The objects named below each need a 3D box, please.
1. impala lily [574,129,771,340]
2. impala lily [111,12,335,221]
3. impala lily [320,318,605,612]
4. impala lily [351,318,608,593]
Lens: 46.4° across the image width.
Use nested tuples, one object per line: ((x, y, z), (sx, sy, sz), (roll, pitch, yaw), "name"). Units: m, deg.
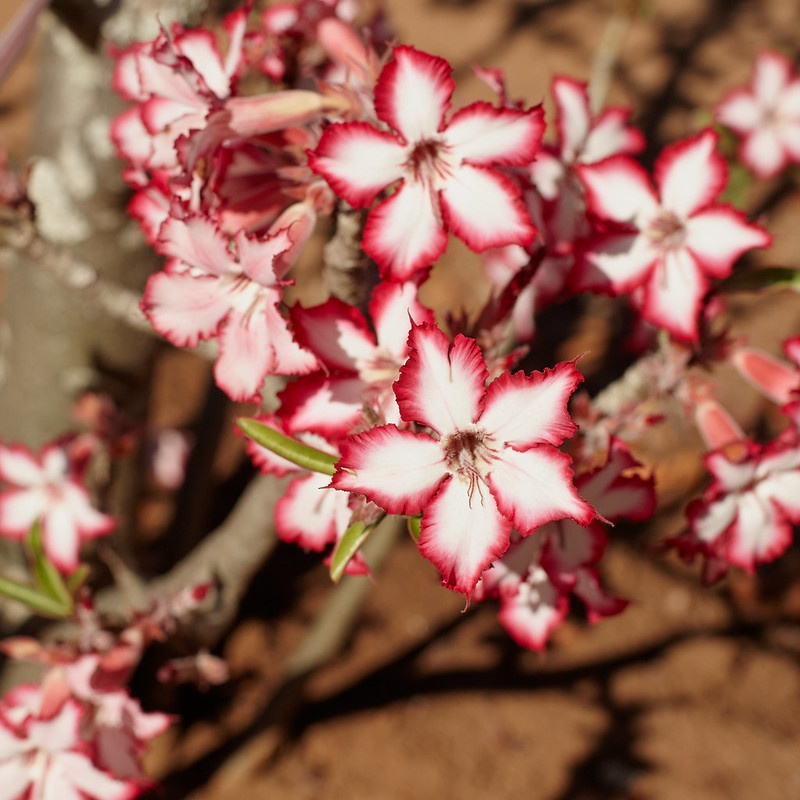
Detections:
((0.278, -0.158, 0.901), (0.240, 0.206, 0.067), (-3, 21, -26), "impala lily")
((-0.156, -0.321, 1.027), (0.260, 0.228, 0.115), (-2, -17, 32), "impala lily")
((0.046, 0.054, 0.815), (0.286, 0.233, 0.057), (-15, -1, -34), "impala lily")
((0.058, 0.059, 0.822), (0.272, 0.235, 0.058), (24, -21, -27), "impala lily")
